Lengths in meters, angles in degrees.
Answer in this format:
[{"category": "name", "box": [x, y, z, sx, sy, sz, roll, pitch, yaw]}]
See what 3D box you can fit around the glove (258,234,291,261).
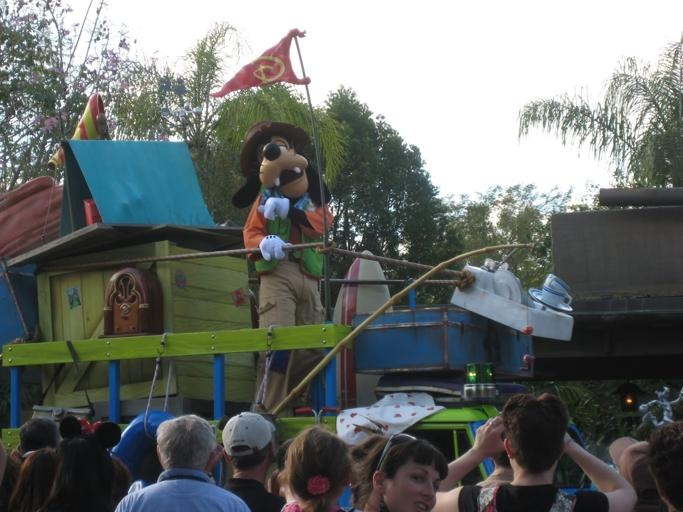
[{"category": "glove", "box": [-0.813, -0.104, 15.689, 0.348, 0.305, 0.421, 2, -10, -3]}]
